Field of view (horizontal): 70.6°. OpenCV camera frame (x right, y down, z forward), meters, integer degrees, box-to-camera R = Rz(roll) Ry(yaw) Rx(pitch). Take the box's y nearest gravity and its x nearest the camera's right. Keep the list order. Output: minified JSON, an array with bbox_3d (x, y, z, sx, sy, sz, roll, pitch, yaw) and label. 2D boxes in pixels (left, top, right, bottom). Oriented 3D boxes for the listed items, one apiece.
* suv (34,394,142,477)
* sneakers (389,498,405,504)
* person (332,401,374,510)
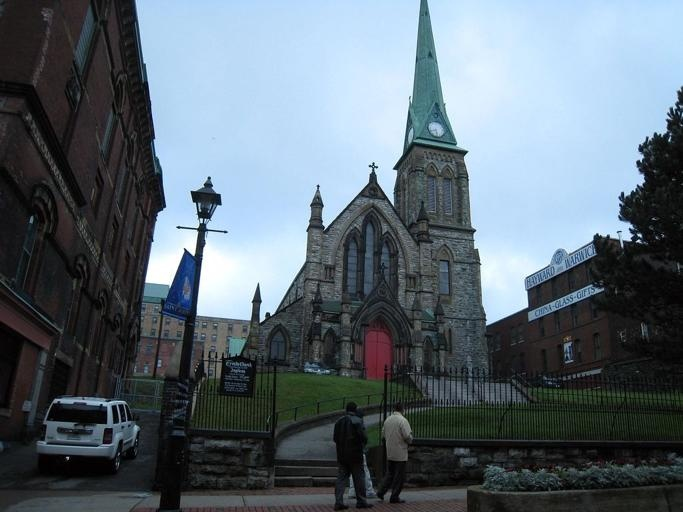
[{"bbox_3d":[-7.240,5.376,14.881,1.954,1.860,3.764,0,-12,1],"label":"suv"},{"bbox_3d":[1.292,5.484,10.858,0.387,0.128,0.201,10,-24,-21],"label":"sneakers"},{"bbox_3d":[0.219,4.380,10.384,0.714,1.909,0.391,1,-21,1],"label":"person"}]
